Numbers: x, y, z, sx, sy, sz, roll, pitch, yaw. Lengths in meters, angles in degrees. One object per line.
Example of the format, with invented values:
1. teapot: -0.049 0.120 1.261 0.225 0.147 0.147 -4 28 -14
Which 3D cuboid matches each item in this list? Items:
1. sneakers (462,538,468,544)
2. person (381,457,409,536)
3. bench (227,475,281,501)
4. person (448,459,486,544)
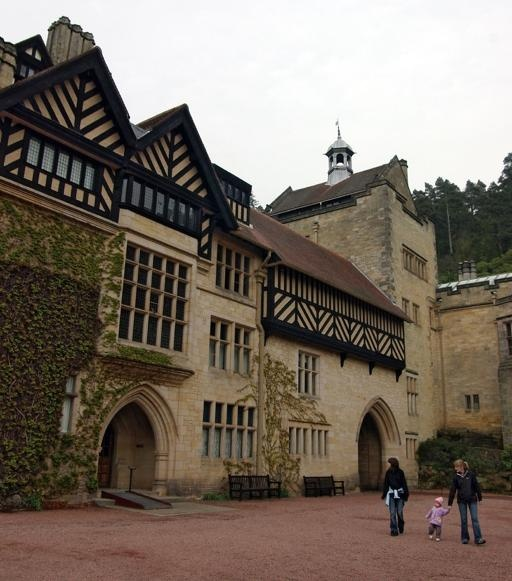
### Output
1. sneakers: 2.887 3.458 7.750 0.039 0.044 0.115 1 -11 8
2. person: 2.258 3.302 9.112 0.376 1.132 1.590 -3 -17 12
3. bench: 0.030 5.055 14.422 0.798 0.604 2.445 -6 -18 20
4. person: 2.947 2.975 7.921 0.416 1.100 0.720 -6 -18 21
